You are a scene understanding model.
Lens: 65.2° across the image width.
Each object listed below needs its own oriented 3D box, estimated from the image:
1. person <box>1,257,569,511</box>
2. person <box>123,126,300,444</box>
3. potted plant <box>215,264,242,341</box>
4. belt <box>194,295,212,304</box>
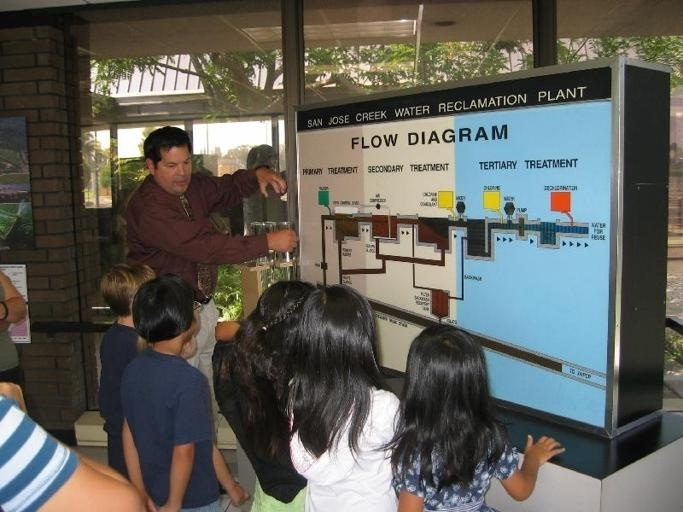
[{"bbox_3d":[-0.119,0.457,1.990,1.281,0.740,0.374,-2,-7,24],"label":"person"},{"bbox_3d":[-0.719,0.243,3.282,0.950,1.945,0.689,3,25,0],"label":"person"},{"bbox_3d":[-0.661,0.274,3.154,0.118,0.390,0.277,17,-11,-33],"label":"potted plant"},{"bbox_3d":[-0.763,0.246,2.986,0.061,0.041,0.044,-1,1,-26],"label":"belt"}]
